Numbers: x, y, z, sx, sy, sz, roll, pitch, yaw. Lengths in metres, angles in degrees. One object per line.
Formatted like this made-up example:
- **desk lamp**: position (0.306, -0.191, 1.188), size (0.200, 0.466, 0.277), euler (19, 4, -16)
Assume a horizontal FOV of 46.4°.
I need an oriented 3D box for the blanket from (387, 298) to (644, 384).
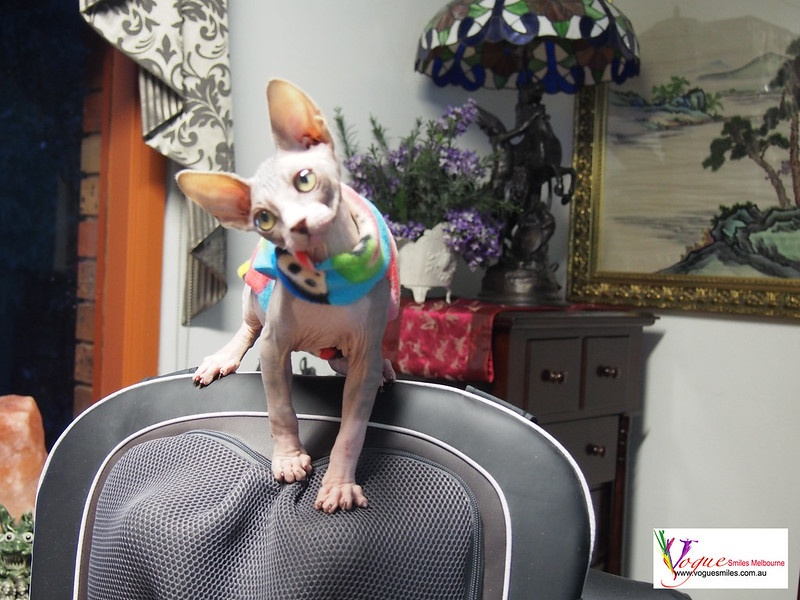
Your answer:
- **blanket**: position (0.226, 0.122, 2.825), size (0.559, 0.243, 0.275), euler (6, 8, 15)
